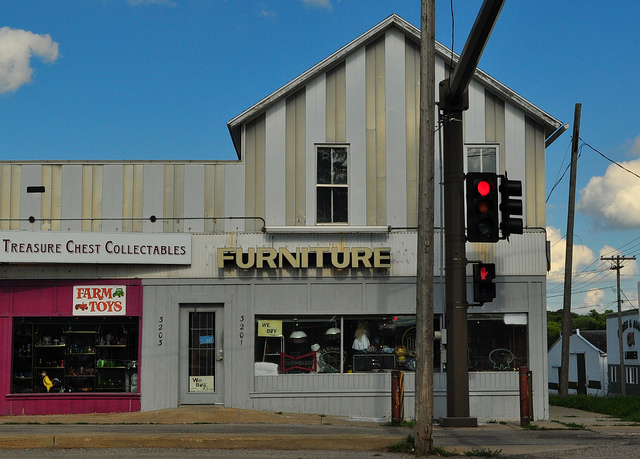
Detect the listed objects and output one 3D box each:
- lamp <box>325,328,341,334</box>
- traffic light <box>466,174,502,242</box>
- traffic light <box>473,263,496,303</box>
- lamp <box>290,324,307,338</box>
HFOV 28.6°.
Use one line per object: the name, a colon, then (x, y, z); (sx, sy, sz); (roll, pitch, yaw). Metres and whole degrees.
lamp: (0.475, 3.278, 39.995); (0.459, 0.180, 0.057); (-1, -10, -5)
traffic light: (4.707, -0.569, 35.822); (0.869, 1.994, 0.595); (-3, -9, 4)
traffic light: (4.969, 1.638, 37.303); (0.630, 1.214, 0.658); (-1, -7, 7)
lamp: (-0.652, 3.269, 39.943); (0.369, 0.262, 0.375); (1, -7, -29)
